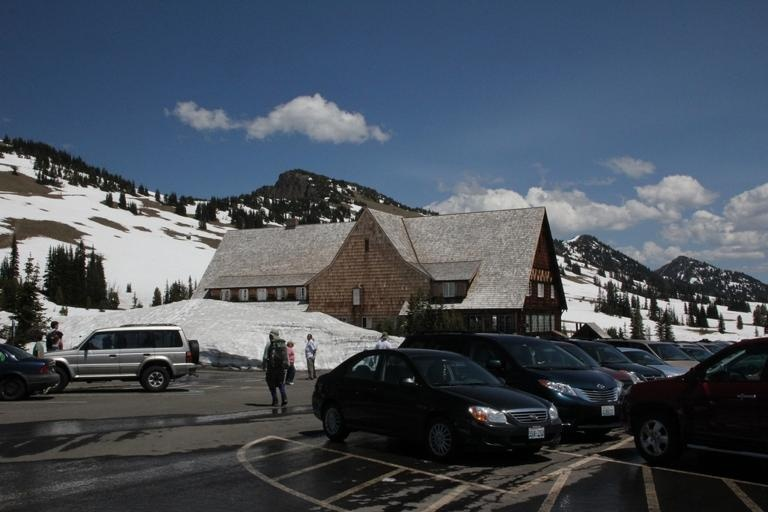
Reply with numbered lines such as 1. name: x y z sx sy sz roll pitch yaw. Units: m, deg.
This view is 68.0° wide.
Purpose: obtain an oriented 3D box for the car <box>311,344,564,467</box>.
1. car: 0.822 3.300 13.685 2.502 1.771 5.293 8 -13 -44

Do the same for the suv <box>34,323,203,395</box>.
1. suv: -11.092 4.420 25.206 5.798 2.471 2.689 2 -8 -5
